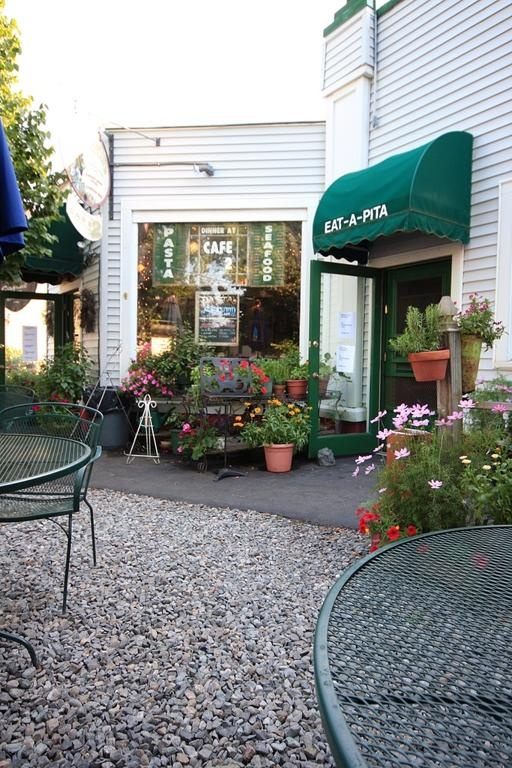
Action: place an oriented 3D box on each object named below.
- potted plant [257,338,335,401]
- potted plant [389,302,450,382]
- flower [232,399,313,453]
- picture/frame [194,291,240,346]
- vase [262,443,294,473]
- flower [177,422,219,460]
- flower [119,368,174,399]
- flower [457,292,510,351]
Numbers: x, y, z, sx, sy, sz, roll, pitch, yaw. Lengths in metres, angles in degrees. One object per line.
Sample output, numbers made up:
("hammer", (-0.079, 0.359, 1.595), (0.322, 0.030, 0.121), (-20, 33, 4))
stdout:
("potted plant", (0.386, -0.144, 6.259), (0.588, 0.521, 0.709), (1, 0, -18))
("potted plant", (0.991, -0.237, 3.591), (0.261, 0.447, 0.418), (0, 1, 2))
("flower", (0.173, 0.378, 5.717), (0.562, 0.416, 0.560), (1, 1, -4))
("picture/frame", (-0.448, -0.768, 7.007), (0.609, 0.783, 0.050), (1, 2, 9))
("vase", (0.211, 0.677, 5.480), (0.253, 0.206, 0.258), (-1, -2, 31))
("flower", (-0.554, 0.549, 5.602), (0.368, 0.410, 0.465), (0, 2, -8))
("flower", (-1.264, 0.002, 6.883), (0.592, 0.339, 0.366), (0, 2, -2))
("flower", (1.581, -0.446, 4.189), (0.285, 0.392, 0.908), (1, 2, 23))
